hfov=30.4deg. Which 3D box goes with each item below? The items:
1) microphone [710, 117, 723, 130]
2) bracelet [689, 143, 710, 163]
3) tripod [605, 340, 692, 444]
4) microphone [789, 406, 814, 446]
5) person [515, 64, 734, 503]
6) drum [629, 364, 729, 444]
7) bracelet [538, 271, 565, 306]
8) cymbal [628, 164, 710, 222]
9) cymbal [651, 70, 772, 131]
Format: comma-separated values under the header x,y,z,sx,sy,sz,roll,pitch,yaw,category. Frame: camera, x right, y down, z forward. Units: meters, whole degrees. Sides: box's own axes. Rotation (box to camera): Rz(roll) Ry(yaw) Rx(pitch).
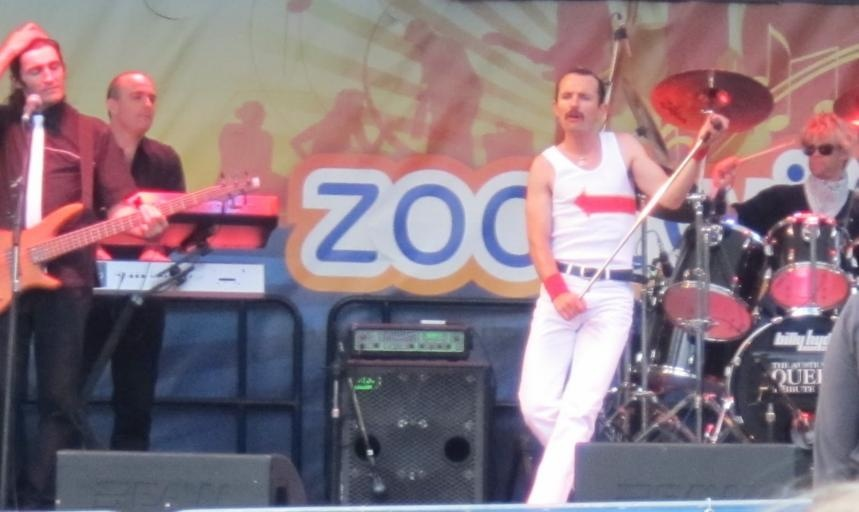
x,y,z,sx,sy,sz,roll,pitch,yaw,category
1.688,-0.775,9.238,0.082,0.067,0.075,-4,1,6,microphone
1.618,-0.610,9.345,0.070,0.113,0.115,40,3,-10,bracelet
1.356,0.878,10.147,0.711,0.581,0.701,-6,-16,31,tripod
2.329,1.065,9.823,0.143,0.240,0.207,-1,-11,12,microphone
0.927,0.162,9.321,0.774,2.554,0.394,1,-11,3,person
1.512,0.909,9.999,0.638,0.649,0.550,1,4,10,drum
0.726,0.190,9.287,0.159,0.151,0.150,-21,-19,-33,bracelet
1.543,-0.386,10.009,0.444,0.362,0.157,18,14,35,cymbal
1.773,-0.995,9.945,0.739,0.145,0.647,-1,-28,1,cymbal
